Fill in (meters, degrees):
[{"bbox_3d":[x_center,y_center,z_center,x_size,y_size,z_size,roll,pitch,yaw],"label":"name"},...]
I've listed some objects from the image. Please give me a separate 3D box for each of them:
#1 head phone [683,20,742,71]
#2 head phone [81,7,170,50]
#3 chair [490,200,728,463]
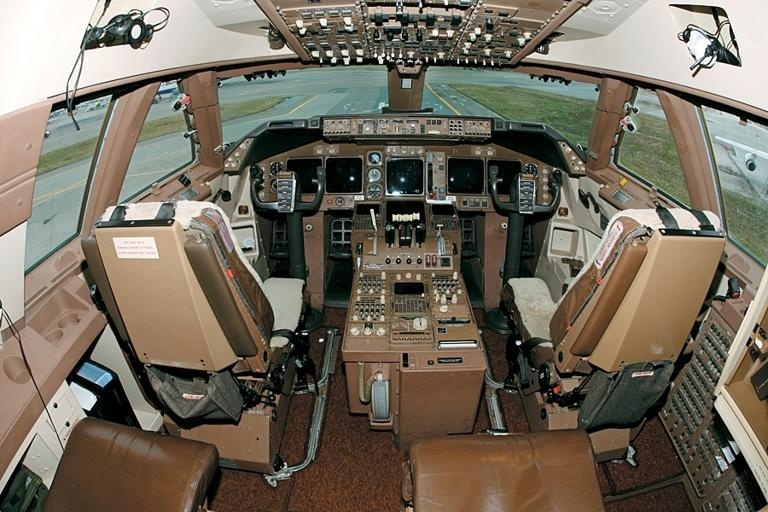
[{"bbox_3d":[2.285,-1.500,3.226,0.157,0.343,0.243,-51,23,-26],"label":"head phone"},{"bbox_3d":[-1.699,-1.502,3.070,0.344,0.144,0.426,-21,17,11],"label":"head phone"},{"bbox_3d":[1.658,0.624,3.687,1.210,2.143,1.013,28,48,33],"label":"chair"}]
